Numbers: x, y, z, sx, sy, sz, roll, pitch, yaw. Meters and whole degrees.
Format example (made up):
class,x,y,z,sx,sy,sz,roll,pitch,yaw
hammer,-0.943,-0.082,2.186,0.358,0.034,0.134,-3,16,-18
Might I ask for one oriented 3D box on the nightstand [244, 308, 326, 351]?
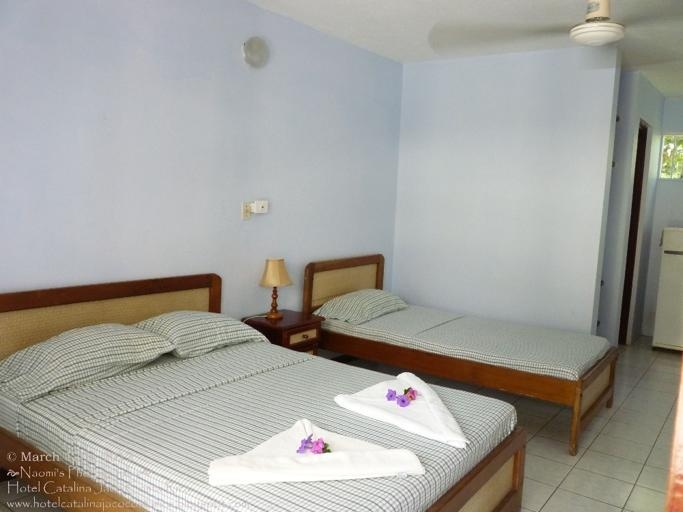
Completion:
class,x,y,z,sx,sy,sz,roll,pitch,yaw
nightstand,-0.473,0.521,3.977,0.382,0.430,0.435,9,13,35
